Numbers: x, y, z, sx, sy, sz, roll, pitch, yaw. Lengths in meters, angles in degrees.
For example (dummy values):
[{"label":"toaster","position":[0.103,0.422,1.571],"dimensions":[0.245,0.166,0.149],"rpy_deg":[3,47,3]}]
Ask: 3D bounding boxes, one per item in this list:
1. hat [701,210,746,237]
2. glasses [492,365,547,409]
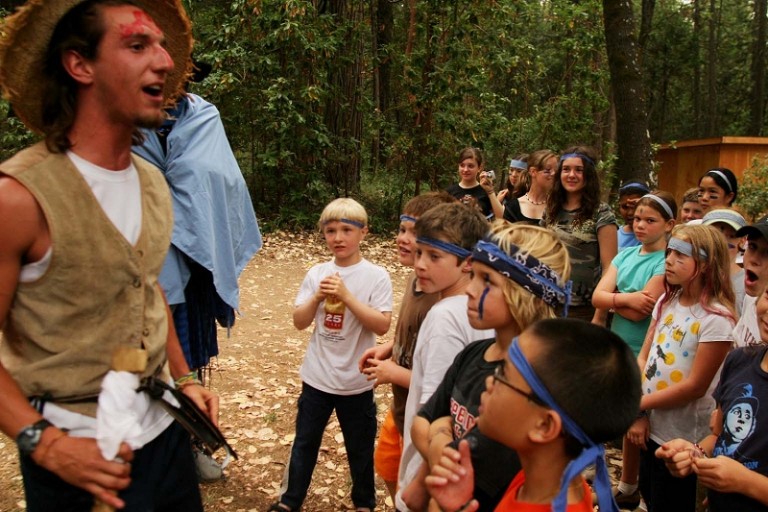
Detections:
[{"label":"hat","position":[2.679,-0.287,5.380],"dimensions":[0.266,0.153,0.364],"rpy_deg":[2,-14,45]},{"label":"glasses","position":[0.631,0.604,3.180],"dimensions":[0.202,0.059,0.157],"rpy_deg":[20,-2,19]}]
